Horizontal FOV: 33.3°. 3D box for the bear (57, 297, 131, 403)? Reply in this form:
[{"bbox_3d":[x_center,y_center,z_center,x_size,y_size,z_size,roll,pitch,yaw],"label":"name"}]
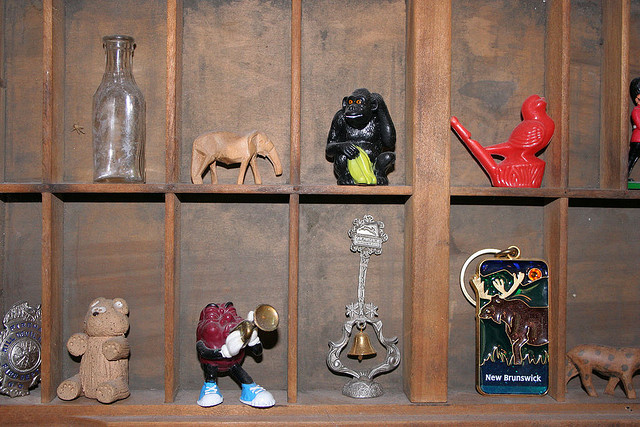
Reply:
[{"bbox_3d":[-0.852,0.532,4.067,0.215,0.402,0.237,-1,5,-3],"label":"bear"}]

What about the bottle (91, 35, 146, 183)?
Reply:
[{"bbox_3d":[-0.762,-0.395,4.124,0.202,0.579,0.185,0,-4,0],"label":"bottle"}]

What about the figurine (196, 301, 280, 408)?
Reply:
[{"bbox_3d":[-0.345,0.535,4.040,0.305,0.386,0.399,1,-1,-28],"label":"figurine"}]

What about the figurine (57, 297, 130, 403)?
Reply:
[{"bbox_3d":[-0.858,0.516,4.098,0.266,0.388,0.227,2,2,10],"label":"figurine"}]

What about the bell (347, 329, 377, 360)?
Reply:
[{"bbox_3d":[0.161,0.511,4.140,0.122,0.116,0.119,-4,4,-37],"label":"bell"}]

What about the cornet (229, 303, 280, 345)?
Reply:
[{"bbox_3d":[-0.239,0.401,3.974,0.173,0.142,0.191,1,7,-8],"label":"cornet"}]
